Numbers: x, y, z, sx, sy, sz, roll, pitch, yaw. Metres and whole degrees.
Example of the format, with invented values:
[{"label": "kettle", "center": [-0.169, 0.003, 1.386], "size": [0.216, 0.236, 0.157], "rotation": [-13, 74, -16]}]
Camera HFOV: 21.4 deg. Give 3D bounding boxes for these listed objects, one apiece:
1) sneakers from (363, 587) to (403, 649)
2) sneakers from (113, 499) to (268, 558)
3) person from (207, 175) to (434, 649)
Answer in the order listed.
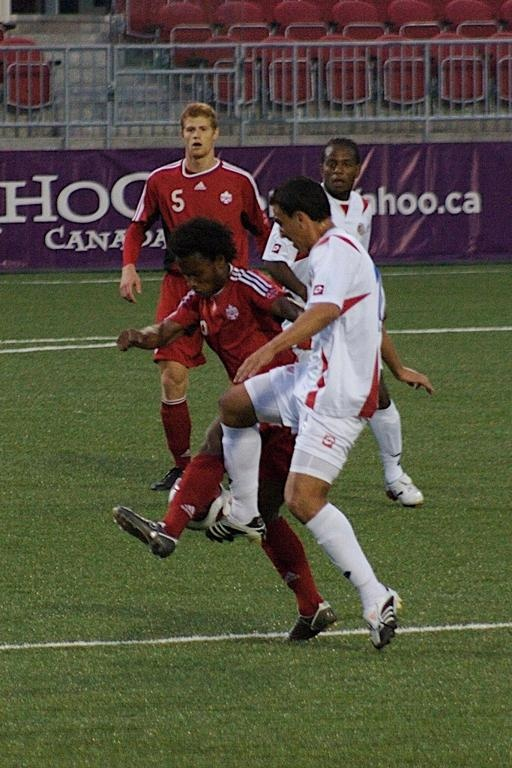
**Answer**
[{"label": "sneakers", "center": [0.392, 0.721, 4.226], "size": [0.110, 0.211, 0.078], "rotation": [7, 35, 8]}, {"label": "sneakers", "center": [-0.253, 0.470, 4.382], "size": [0.537, 0.177, 0.190], "rotation": [-1, 21, -35]}, {"label": "person", "center": [0.159, 0.084, 4.345], "size": [0.476, 1.467, 0.685], "rotation": [-3, 8, -41]}]
